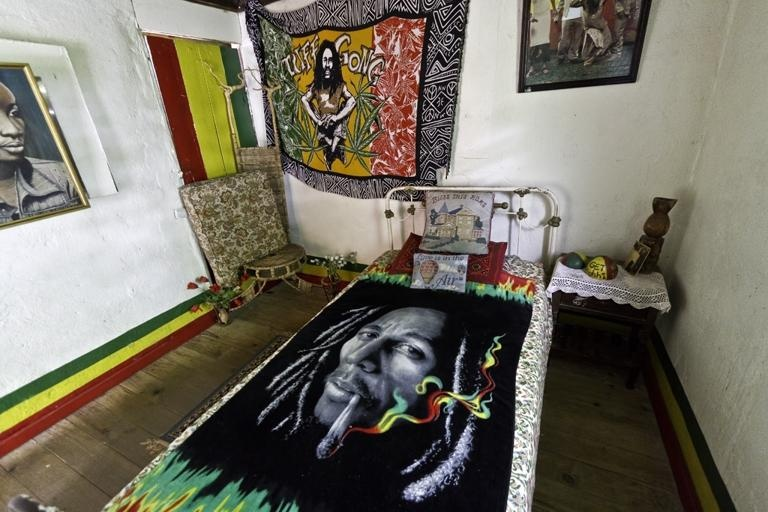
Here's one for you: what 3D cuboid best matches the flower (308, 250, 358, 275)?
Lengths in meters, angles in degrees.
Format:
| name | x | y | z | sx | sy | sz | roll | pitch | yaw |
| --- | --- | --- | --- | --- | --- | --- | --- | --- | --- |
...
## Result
| name | x | y | z | sx | sy | sz | roll | pitch | yaw |
| --- | --- | --- | --- | --- | --- | --- | --- | --- | --- |
| flower | -0.562 | 0.061 | 4.550 | 0.300 | 0.123 | 0.308 | 6 | 13 | 26 |

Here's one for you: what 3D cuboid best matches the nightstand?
| name | x | y | z | sx | sy | sz | roll | pitch | yaw |
| --- | --- | --- | --- | --- | --- | --- | --- | --- | --- |
| nightstand | 1.716 | 0.614 | 3.619 | 0.938 | 0.920 | 0.780 | 11 | 12 | 32 |

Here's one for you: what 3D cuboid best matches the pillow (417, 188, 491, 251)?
| name | x | y | z | sx | sy | sz | roll | pitch | yaw |
| --- | --- | --- | --- | --- | --- | --- | --- | --- | --- |
| pillow | 0.613 | -0.281 | 3.773 | 0.559 | 0.538 | 0.176 | 5 | 5 | 12 |

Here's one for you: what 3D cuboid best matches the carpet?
| name | x | y | z | sx | sy | sz | roll | pitch | yaw |
| --- | --- | --- | --- | --- | --- | --- | --- | --- | --- |
| carpet | -1.372 | 1.146 | 3.550 | 0.591 | 0.036 | 1.626 | 33 | 41 | 13 |

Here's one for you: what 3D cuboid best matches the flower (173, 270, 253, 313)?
| name | x | y | z | sx | sy | sz | roll | pitch | yaw |
| --- | --- | --- | --- | --- | --- | --- | --- | --- | --- |
| flower | -1.610 | 0.381 | 4.243 | 0.549 | 0.347 | 0.549 | 4 | 12 | -3 |
